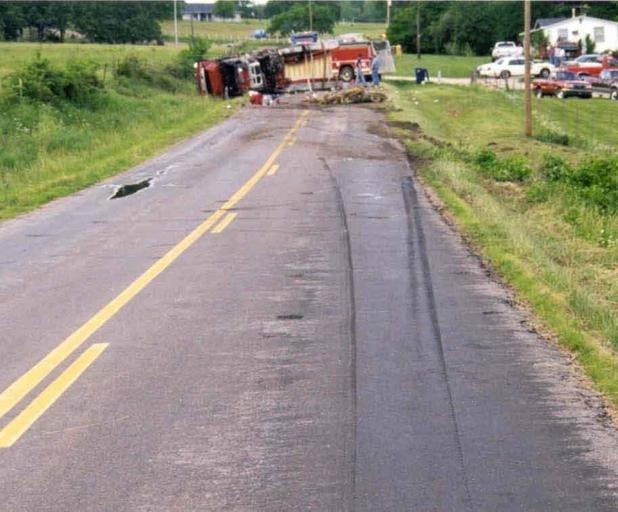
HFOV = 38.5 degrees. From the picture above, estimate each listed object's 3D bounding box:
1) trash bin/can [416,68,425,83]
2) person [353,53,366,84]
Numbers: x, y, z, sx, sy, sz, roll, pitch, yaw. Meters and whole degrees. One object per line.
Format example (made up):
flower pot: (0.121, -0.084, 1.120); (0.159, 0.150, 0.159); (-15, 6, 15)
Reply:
trash bin/can: (7.376, -11.786, 57.476); (0.676, 0.910, 1.990); (2, 15, 9)
person: (2.633, -9.630, 45.219); (0.509, 1.316, 1.039); (0, 14, 1)
